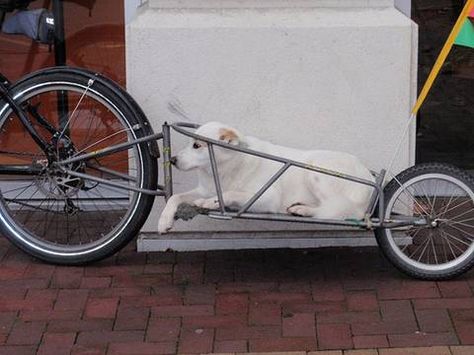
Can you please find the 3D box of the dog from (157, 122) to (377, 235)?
[{"bbox_3d":[0.276,-0.055,4.423,1.805,0.661,0.838,0,3,1],"label":"dog"}]
